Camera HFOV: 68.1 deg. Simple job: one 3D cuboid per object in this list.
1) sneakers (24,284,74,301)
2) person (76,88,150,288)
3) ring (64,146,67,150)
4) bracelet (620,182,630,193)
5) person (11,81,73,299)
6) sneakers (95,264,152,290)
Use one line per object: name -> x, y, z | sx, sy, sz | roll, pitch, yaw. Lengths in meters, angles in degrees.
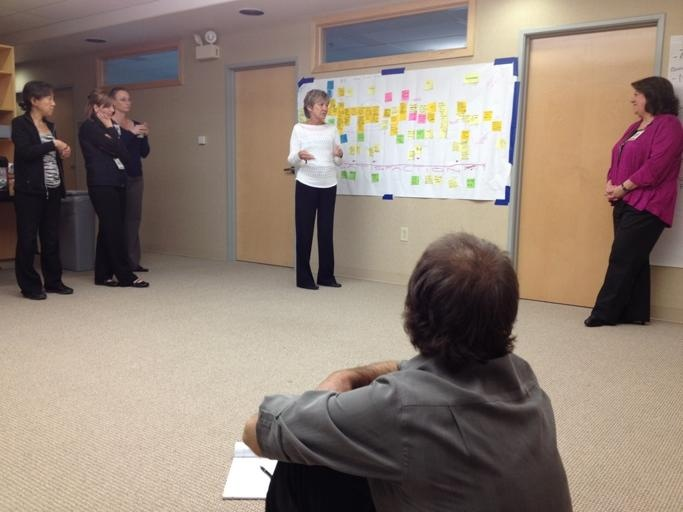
sneakers -> -2.571, 0.323, 4.454 | 0.373, 0.154, 0.127 | 2, 0, -27
person -> -2.204, -0.604, 4.755 | 0.509, 1.857, 0.330 | -7, 9, -13
ring -> -2.392, -0.941, 4.374 | 0.025, 0.015, 0.017 | 9, 1, 17
bracelet -> 2.069, -0.498, 3.691 | 0.061, 0.019, 0.062 | 14, -25, 52
person -> -2.639, -0.560, 4.399 | 0.549, 1.855, 0.418 | -11, 10, -33
sneakers -> -2.102, 0.222, 4.941 | 0.591, 0.242, 0.205 | 0, 0, 0
